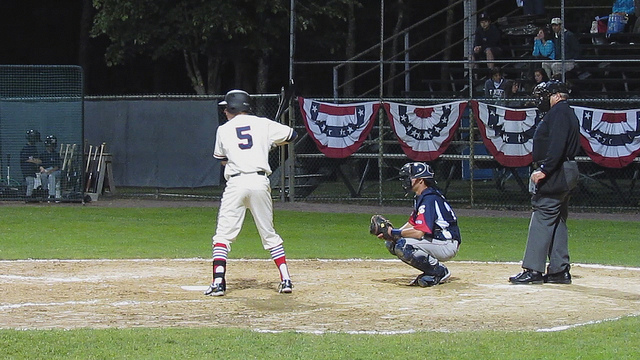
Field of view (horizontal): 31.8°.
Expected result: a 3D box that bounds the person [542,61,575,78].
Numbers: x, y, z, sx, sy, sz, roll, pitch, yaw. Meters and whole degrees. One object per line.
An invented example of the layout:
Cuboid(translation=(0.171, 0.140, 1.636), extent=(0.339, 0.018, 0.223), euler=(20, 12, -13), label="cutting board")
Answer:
Cuboid(translation=(8.144, -3.749, 38.331), extent=(1.057, 0.485, 1.112), euler=(0, 3, 11), label="person")

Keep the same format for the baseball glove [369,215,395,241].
Cuboid(translation=(1.570, 1.150, 29.050), extent=(0.714, 0.567, 0.500), euler=(-8, 13, 9), label="baseball glove")

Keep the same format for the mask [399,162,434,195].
Cuboid(translation=(2.496, -0.059, 28.973), extent=(0.868, 0.757, 0.419), euler=(-1, 3, 2), label="mask")

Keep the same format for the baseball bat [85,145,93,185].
Cuboid(translation=(-8.025, -0.537, 38.873), extent=(0.146, 1.318, 0.195), euler=(11, -8, -2), label="baseball bat")
